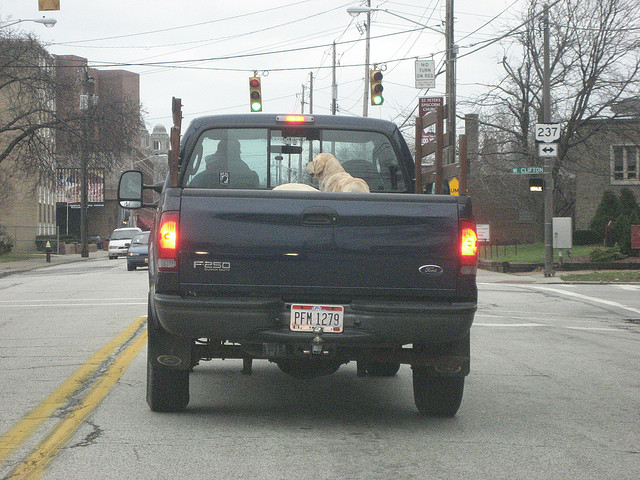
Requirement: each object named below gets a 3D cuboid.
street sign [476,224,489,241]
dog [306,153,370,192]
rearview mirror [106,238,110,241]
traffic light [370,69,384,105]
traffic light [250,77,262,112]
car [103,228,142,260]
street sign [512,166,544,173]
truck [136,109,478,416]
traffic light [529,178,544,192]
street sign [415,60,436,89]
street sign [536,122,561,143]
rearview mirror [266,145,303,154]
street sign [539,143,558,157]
[{"bbox_3d":[5.948,-0.286,30.499,0.096,0.664,0.718,-11,13,-39],"label":"street sign"},{"bbox_3d":[0.210,-0.753,9.270,0.369,0.430,0.983,-1,3,-26],"label":"dog"},{"bbox_3d":[-20.061,-0.083,79.299,0.349,0.230,0.513,0,-6,-13],"label":"rearview mirror"},{"bbox_3d":[1.882,-5.080,27.694,0.377,1.172,0.767,1,3,1],"label":"traffic light"},{"bbox_3d":[-2.110,-4.784,27.435,0.359,1.095,0.821,1,3,-5],"label":"traffic light"},{"bbox_3d":[-11.031,0.077,46.302,1.478,1.066,2.394,-1,-4,-4],"label":"car"},{"bbox_3d":[6.804,-2.270,27.238,0.863,0.237,2.909,2,3,22],"label":"street sign"},{"bbox_3d":[-0.252,0.006,9.911,2.627,1.958,4.414,2,2,-6],"label":"truck"},{"bbox_3d":[7.058,-1.827,27.320,0.401,0.398,0.834,2,3,15],"label":"traffic light"},{"bbox_3d":[3.863,-6.063,30.773,0.699,1.065,0.508,1,3,5],"label":"street sign"},{"bbox_3d":[7.043,-3.302,25.886,0.894,0.711,0.120,0,0,3],"label":"street sign"},{"bbox_3d":[-0.415,-1.055,9.772,0.414,0.101,0.052,0,3,-9],"label":"rearview mirror"},{"bbox_3d":[7.120,-2.810,26.087,0.608,0.426,0.612,1,3,5],"label":"street sign"}]
